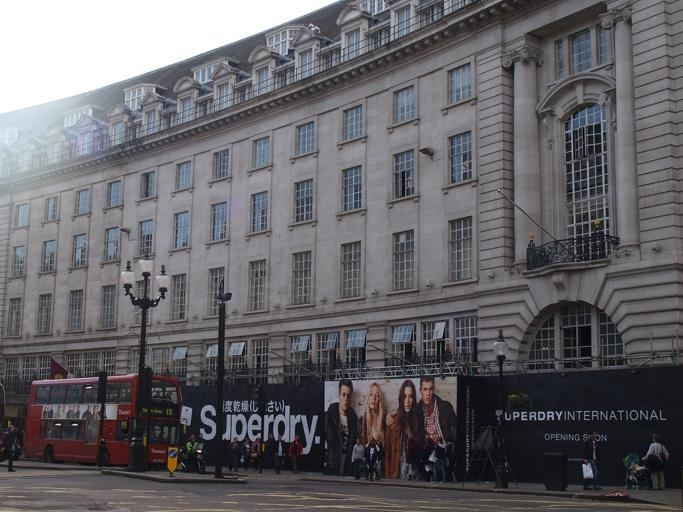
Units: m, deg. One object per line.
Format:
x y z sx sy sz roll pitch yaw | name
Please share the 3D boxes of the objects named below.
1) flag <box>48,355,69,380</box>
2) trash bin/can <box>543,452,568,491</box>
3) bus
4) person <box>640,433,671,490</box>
-19.138 7.126 75.680 1.219 2.251 2.257 -1 -4 -11 | flag
9.291 9.300 48.830 0.967 1.625 0.703 -3 -16 11 | trash bin/can
-13.889 9.569 64.657 11.626 4.972 3.450 -7 -13 43 | bus
13.634 8.889 48.723 1.081 2.383 0.688 6 -12 -15 | person
